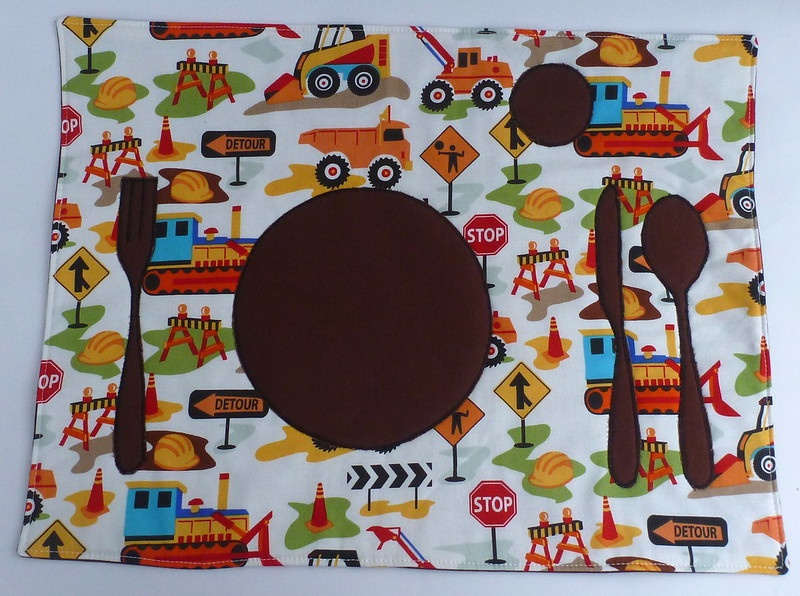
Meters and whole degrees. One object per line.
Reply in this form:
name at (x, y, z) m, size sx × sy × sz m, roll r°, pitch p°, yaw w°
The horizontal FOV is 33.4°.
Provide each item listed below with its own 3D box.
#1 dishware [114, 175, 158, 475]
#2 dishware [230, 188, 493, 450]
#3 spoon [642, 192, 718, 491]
dishware at (-0.502, 0.053, 2.485) m, size 0.069 × 0.023 × 0.558 m, roll 1°, pitch 87°, yaw -4°
dishware at (-0.071, 0.036, 2.492) m, size 0.482 × 0.018 × 0.486 m, roll -31°, pitch 85°, yaw -5°
spoon at (0.527, 0.075, 2.493) m, size 0.107 × 0.060 × 0.561 m, roll -3°, pitch 95°, yaw 9°
